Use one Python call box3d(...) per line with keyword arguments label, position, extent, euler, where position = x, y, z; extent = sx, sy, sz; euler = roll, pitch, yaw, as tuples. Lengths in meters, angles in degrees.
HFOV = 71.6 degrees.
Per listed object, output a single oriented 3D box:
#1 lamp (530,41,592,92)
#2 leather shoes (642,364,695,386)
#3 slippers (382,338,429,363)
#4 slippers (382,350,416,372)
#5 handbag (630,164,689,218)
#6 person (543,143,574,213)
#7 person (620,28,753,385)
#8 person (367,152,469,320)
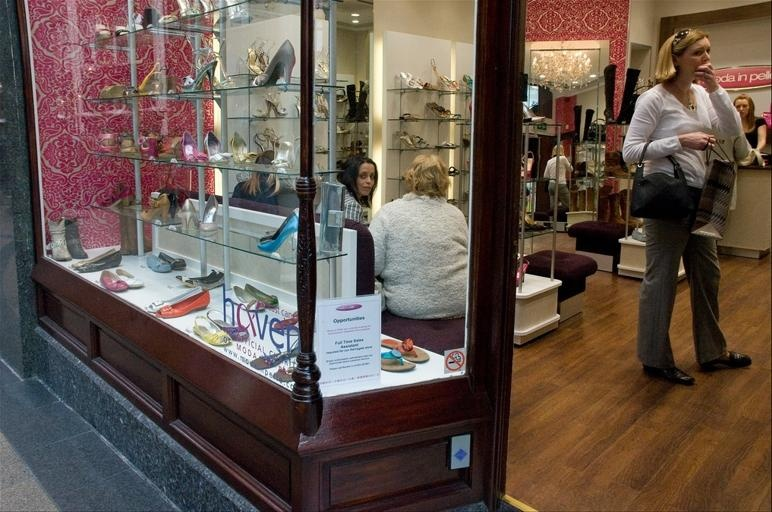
box3d(label="lamp", position=(2.517, -2.685, 7.421), extent=(0.932, 0.566, 0.936), euler=(-1, 5, 5))
box3d(label="leather shoes", position=(1.847, 0.768, 3.523), extent=(0.331, 0.132, 0.112), euler=(2, 18, 36))
box3d(label="slippers", position=(0.090, 0.428, 2.446), extent=(0.215, 0.059, 0.102), euler=(16, 34, 31))
box3d(label="slippers", position=(0.052, 0.471, 2.400), extent=(0.165, 0.049, 0.074), euler=(6, 12, 39))
box3d(label="handbag", position=(1.651, -0.446, 3.238), extent=(0.311, 0.441, 0.190), euler=(4, 0, 30))
box3d(label="person", position=(1.790, -0.729, 5.516), extent=(0.315, 0.822, 0.252), euler=(-1, 21, 18))
box3d(label="person", position=(1.894, -0.276, 3.351), extent=(0.778, 2.139, 0.435), euler=(-8, 16, -21))
box3d(label="person", position=(0.164, -0.140, 2.859), extent=(0.564, 0.811, 0.716), euler=(-6, 12, -29))
